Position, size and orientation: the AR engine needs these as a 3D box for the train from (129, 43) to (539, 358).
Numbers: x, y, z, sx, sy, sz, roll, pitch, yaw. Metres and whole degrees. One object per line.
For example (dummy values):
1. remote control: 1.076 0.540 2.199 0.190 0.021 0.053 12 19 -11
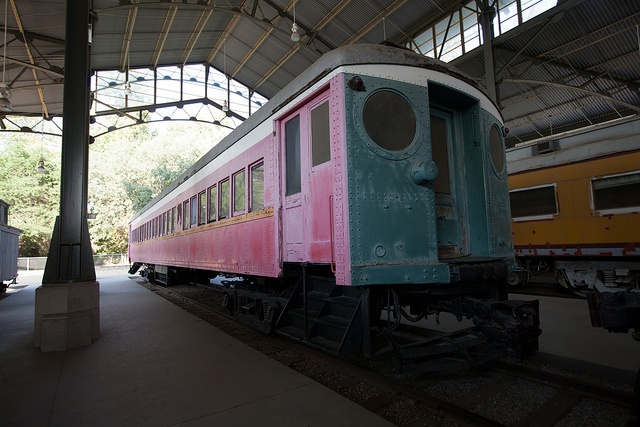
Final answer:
1. train: 0.284 -0.260 8.569 7.799 5.939 3.038 8 16 36
